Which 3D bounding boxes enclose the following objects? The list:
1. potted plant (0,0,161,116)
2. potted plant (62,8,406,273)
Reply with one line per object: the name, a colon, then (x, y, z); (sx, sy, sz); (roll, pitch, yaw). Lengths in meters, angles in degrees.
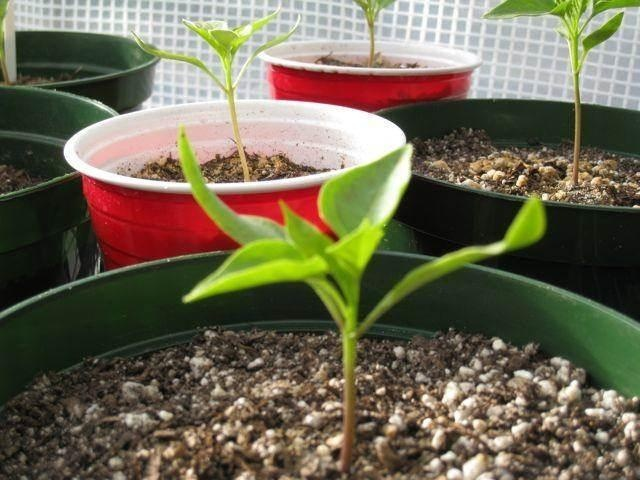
potted plant: (-0.861, -0.594, 2.127); (0.435, 0.174, 0.441); (23, 32, 35)
potted plant: (-0.191, -0.156, 1.199); (0.562, 0.589, 0.535); (11, 24, 27)
